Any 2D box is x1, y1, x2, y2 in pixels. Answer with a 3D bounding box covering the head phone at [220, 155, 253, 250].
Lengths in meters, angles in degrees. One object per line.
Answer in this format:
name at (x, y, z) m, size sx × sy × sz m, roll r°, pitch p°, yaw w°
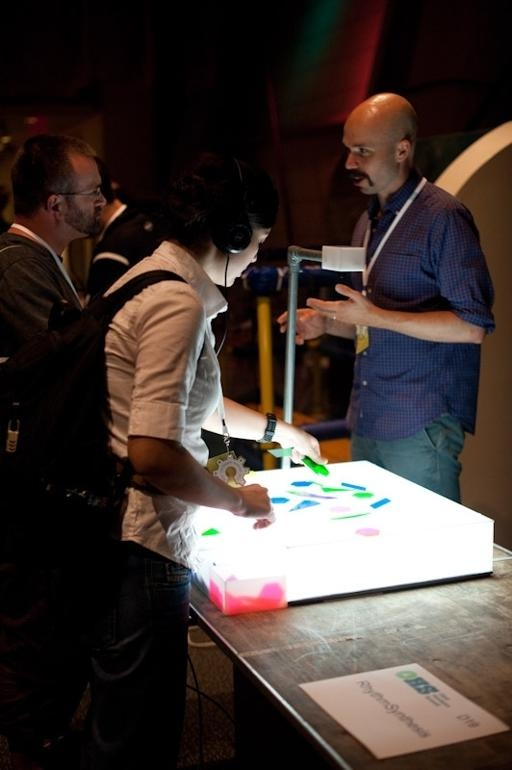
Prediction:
head phone at (-0.032, -0.289, 1.024) m, size 0.054 × 0.162 × 0.136 m, roll -2°, pitch 9°, yaw -1°
